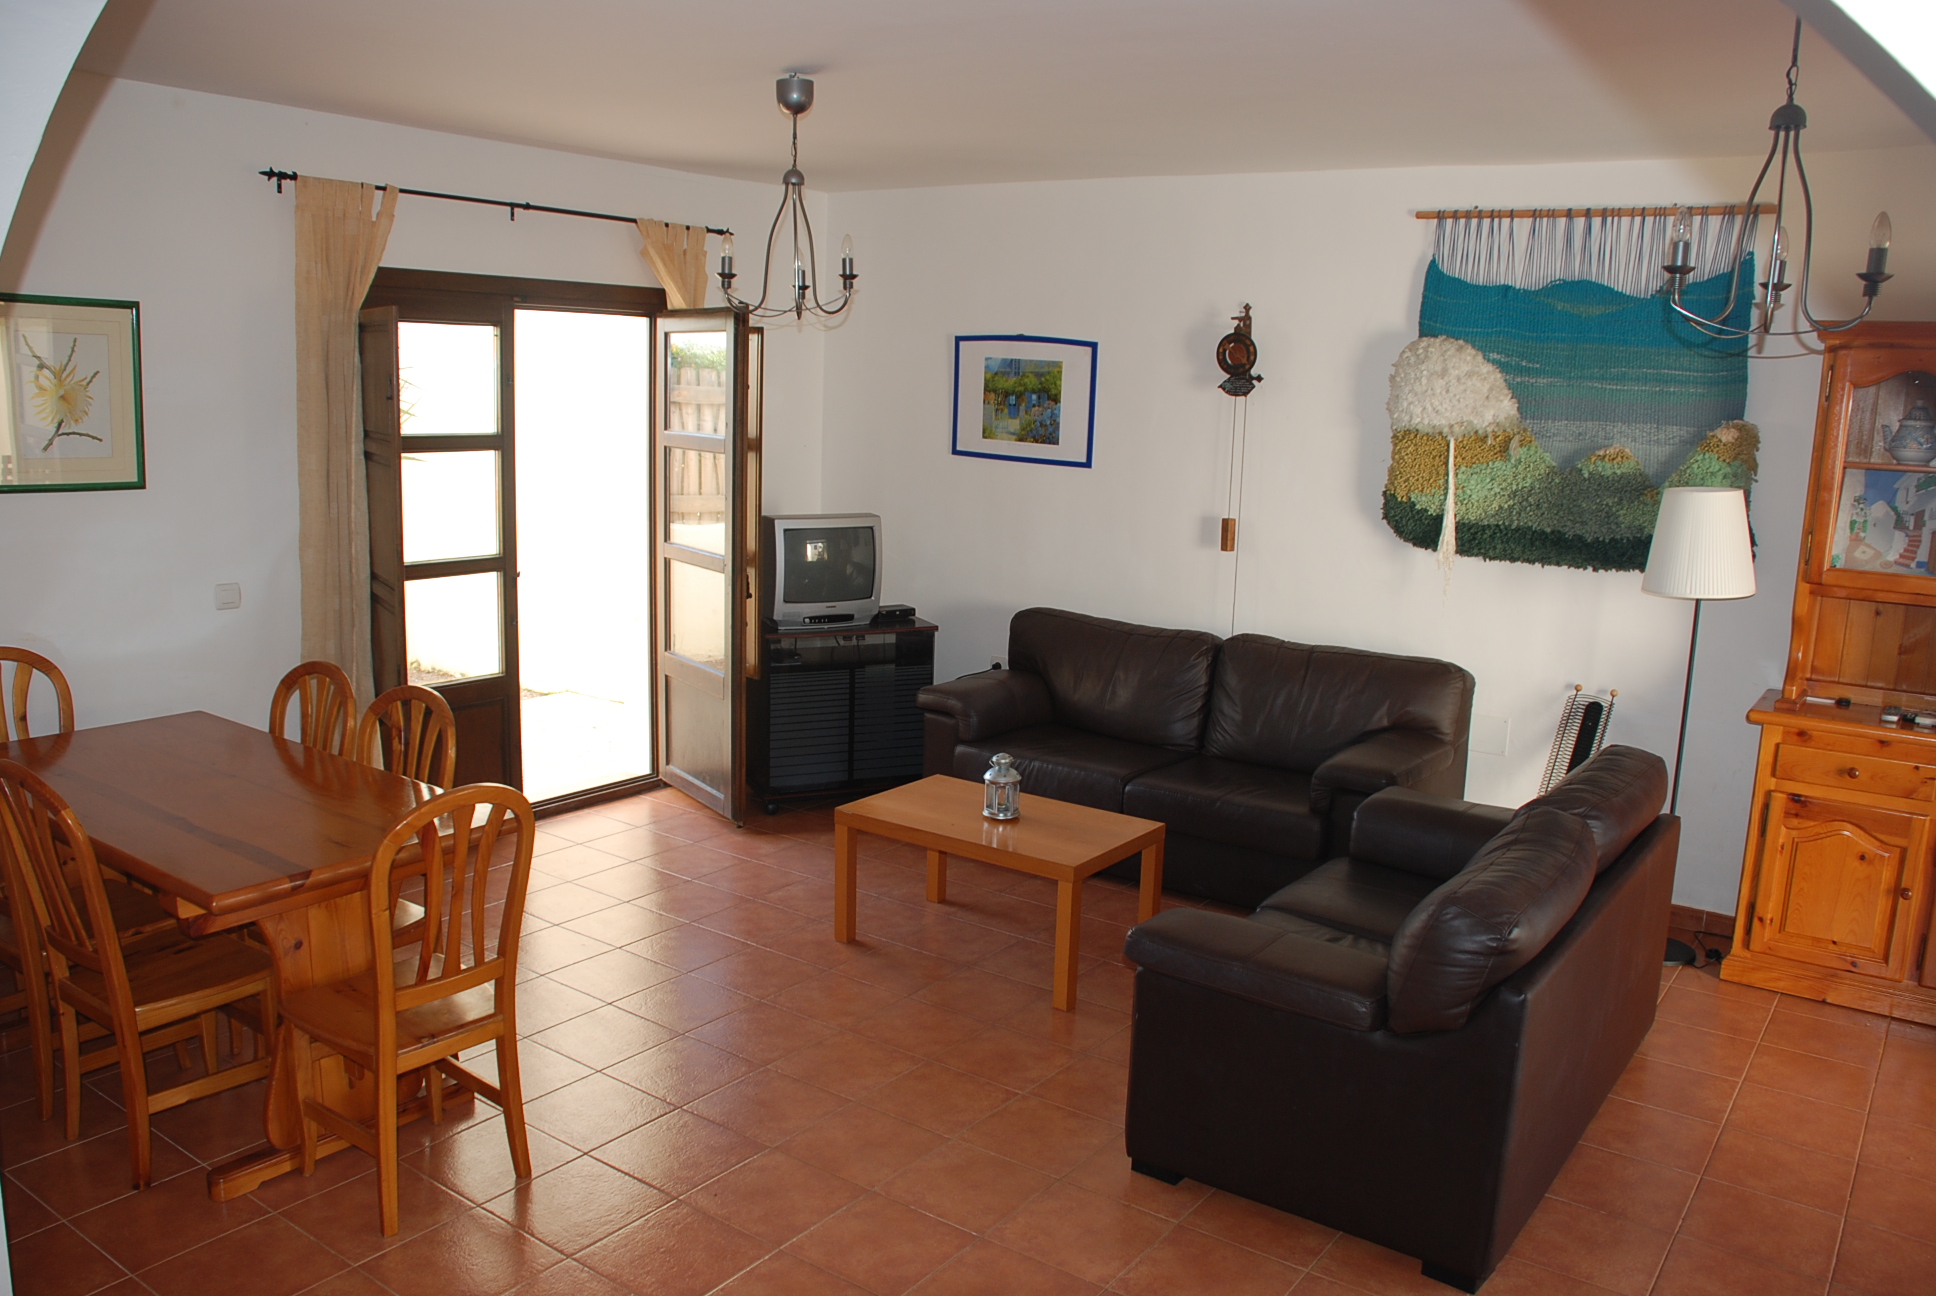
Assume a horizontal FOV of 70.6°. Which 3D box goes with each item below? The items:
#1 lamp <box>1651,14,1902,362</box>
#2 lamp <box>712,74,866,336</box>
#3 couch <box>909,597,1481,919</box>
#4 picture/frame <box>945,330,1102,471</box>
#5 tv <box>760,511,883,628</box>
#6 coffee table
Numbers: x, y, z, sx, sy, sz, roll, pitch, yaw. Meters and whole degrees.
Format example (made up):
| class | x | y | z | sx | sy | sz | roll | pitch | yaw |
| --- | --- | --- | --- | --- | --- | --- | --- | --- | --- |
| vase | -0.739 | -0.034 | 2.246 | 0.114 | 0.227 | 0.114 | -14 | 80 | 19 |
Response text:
| class | x | y | z | sx | sy | sz | roll | pitch | yaw |
| --- | --- | --- | --- | --- | --- | --- | --- | --- | --- |
| lamp | 3.131 | -1.650 | 5.175 | 0.870 | 0.930 | 2.135 | 4 | 8 | 25 |
| lamp | -0.946 | -2.398 | 7.238 | 0.820 | 1.161 | 0.757 | -6 | 14 | -35 |
| couch | 1.095 | 0.577 | 7.136 | 2.636 | 1.243 | 1.143 | 9 | 14 | 38 |
| picture/frame | 0.297 | -1.438 | 7.931 | 0.949 | 0.720 | 0.039 | -2 | 9 | -31 |
| tv | -0.909 | -0.439 | 7.878 | 0.712 | 0.617 | 0.402 | -6 | 5 | -38 |
| coffee table | 0.177 | 0.724 | 5.979 | 1.438 | 0.681 | 0.921 | 8 | 11 | 41 |
